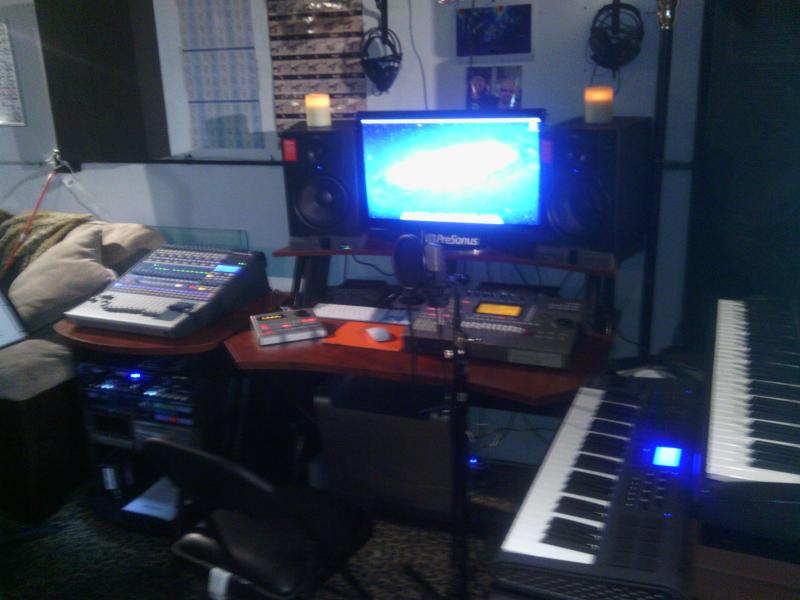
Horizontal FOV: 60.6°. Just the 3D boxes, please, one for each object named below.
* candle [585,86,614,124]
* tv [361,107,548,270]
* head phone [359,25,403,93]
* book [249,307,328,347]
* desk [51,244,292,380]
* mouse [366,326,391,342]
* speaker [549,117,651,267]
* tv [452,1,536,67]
[{"bbox_3d":[0.708,-0.697,2.439,0.138,0.140,0.132,4,24,16],"label":"candle"},{"bbox_3d":[0.207,-0.413,2.434,0.702,0.443,0.089,3,20,14],"label":"tv"},{"bbox_3d":[-0.075,-1.022,2.920,0.176,0.266,0.143,-1,21,-2],"label":"head phone"},{"bbox_3d":[-0.411,0.093,2.441,0.179,0.053,0.154,-9,24,-24],"label":"book"},{"bbox_3d":[-0.820,-0.070,2.506,0.508,0.232,0.614,9,27,18],"label":"desk"},{"bbox_3d":[-0.071,0.112,2.379,0.051,0.017,0.065,-2,29,-8],"label":"mouse"},{"bbox_3d":[0.727,-0.404,2.482,0.304,0.475,0.428,13,24,29],"label":"speaker"},{"bbox_3d":[0.383,-1.098,2.793,0.322,0.211,0.042,8,23,21],"label":"tv"}]
